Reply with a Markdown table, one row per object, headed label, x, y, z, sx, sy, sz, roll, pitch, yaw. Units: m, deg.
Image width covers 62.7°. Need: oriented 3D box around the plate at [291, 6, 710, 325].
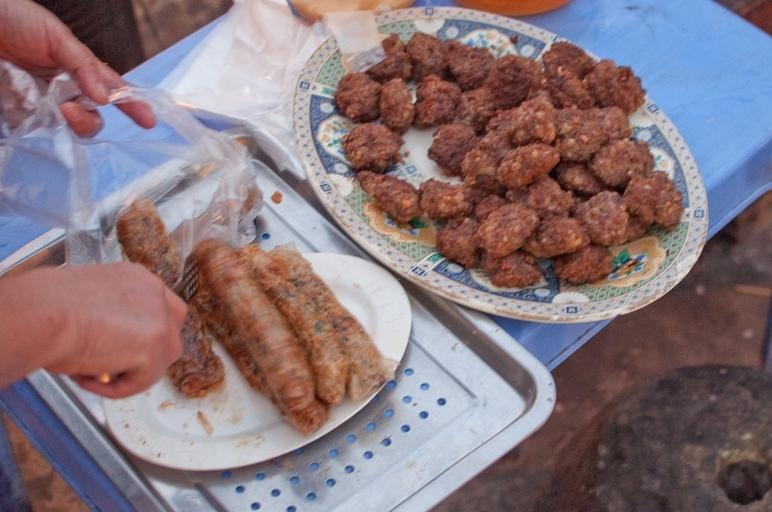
| label | x | y | z | sx | sy | sz | roll | pitch | yaw |
| --- | --- | --- | --- | --- | --- | --- | --- | --- | --- |
| plate | 0.490 | -0.118 | 2.418 | 1.091 | 1.271 | 1.341 | -23 | 42 | -29 |
